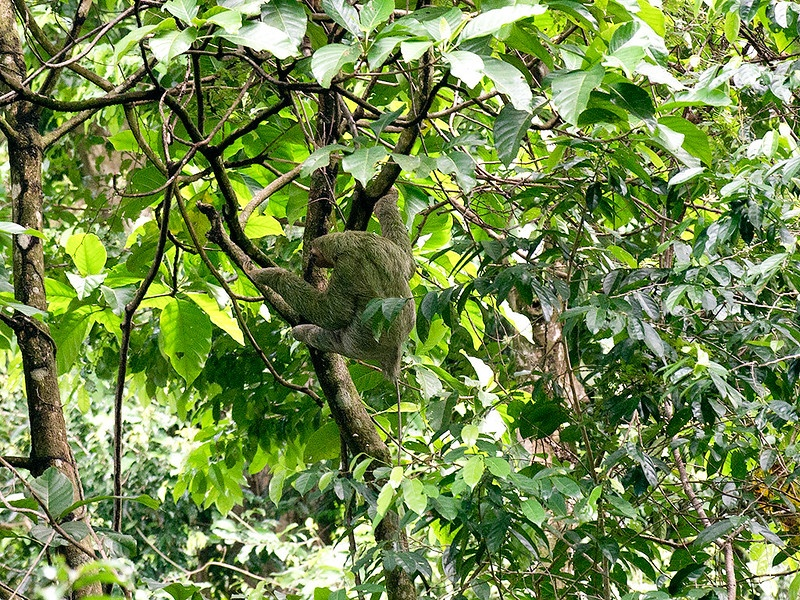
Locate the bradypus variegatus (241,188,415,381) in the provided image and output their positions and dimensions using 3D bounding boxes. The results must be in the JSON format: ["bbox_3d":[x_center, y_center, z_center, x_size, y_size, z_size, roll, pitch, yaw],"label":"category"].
[{"bbox_3d":[-0.123,-0.078,4.159,0.777,0.591,0.526,-37,-34,-33],"label":"bradypus variegatus"}]
